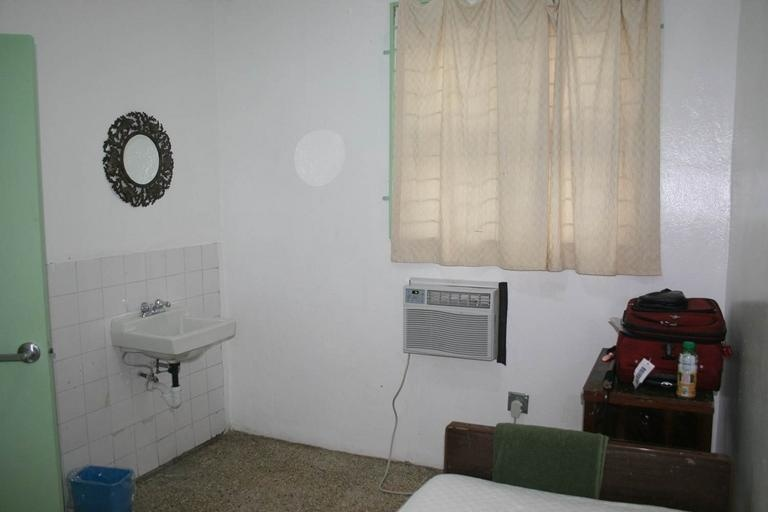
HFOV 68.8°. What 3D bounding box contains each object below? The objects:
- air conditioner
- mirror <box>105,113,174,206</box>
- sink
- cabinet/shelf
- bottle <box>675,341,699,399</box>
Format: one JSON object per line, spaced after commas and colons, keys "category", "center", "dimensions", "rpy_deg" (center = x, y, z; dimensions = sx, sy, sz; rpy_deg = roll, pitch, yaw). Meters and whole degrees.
{"category": "air conditioner", "center": [0.461, 0.432, 3.730], "dimensions": [0.487, 0.419, 0.166], "rpy_deg": [0, -1, 22]}
{"category": "mirror", "center": [-1.695, -0.663, 3.814], "dimensions": [0.016, 0.487, 0.486], "rpy_deg": [2, -32, 24]}
{"category": "sink", "center": [-1.435, 0.530, 3.821], "dimensions": [0.518, 0.303, 0.634], "rpy_deg": [3, 5, 35]}
{"category": "cabinet/shelf", "center": [1.567, 0.898, 3.133], "dimensions": [0.424, 0.440, 0.422], "rpy_deg": [19, 14, 37]}
{"category": "bottle", "center": [1.616, 0.592, 2.966], "dimensions": [0.096, 0.282, 0.146], "rpy_deg": [2, 5, 30]}
